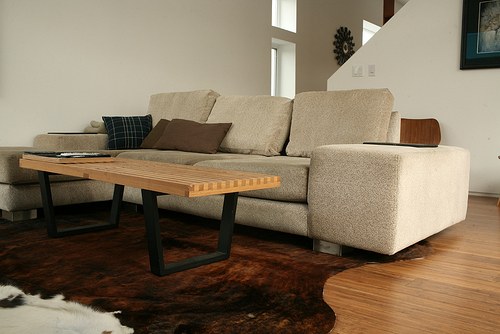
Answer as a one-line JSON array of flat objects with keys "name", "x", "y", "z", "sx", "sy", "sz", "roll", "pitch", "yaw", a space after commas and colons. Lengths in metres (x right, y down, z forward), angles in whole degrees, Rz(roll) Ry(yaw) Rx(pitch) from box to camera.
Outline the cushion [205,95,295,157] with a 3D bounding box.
[{"name": "cushion", "x": 0.066, "y": -0.394, "z": 3.105, "sx": 0.825, "sy": 0.579, "sz": 0.188, "roll": 8, "pitch": -18, "yaw": 38}]

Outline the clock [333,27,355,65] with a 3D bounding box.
[{"name": "clock", "x": 2.187, "y": -2.836, "z": 7.830, "sx": 0.151, "sy": 0.908, "sz": 0.867, "roll": 9, "pitch": 11, "yaw": 39}]

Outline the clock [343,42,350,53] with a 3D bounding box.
[{"name": "clock", "x": 2.242, "y": -2.810, "z": 7.874, "sx": 0.020, "sy": 0.243, "sz": 0.292, "roll": 9, "pitch": 12, "yaw": 42}]

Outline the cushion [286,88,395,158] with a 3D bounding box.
[{"name": "cushion", "x": 0.944, "y": -0.433, "z": 3.057, "sx": 1.239, "sy": 0.689, "sz": 0.619, "roll": 0, "pitch": 2, "yaw": -32}]

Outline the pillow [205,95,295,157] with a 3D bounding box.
[{"name": "pillow", "x": 0.040, "y": -0.405, "z": 3.086, "sx": 0.780, "sy": 0.593, "sz": 0.180, "roll": 11, "pitch": -15, "yaw": 37}]

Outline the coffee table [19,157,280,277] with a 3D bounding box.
[{"name": "coffee table", "x": -0.692, "y": 0.221, "z": 2.379, "sx": 2.012, "sy": 0.555, "sz": 1.079, "roll": 6, "pitch": 9, "yaw": 37}]

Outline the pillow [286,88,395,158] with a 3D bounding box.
[{"name": "pillow", "x": 0.687, "y": -0.330, "z": 2.535, "sx": 0.648, "sy": 0.385, "sz": 0.344, "roll": 4, "pitch": -17, "yaw": 39}]
